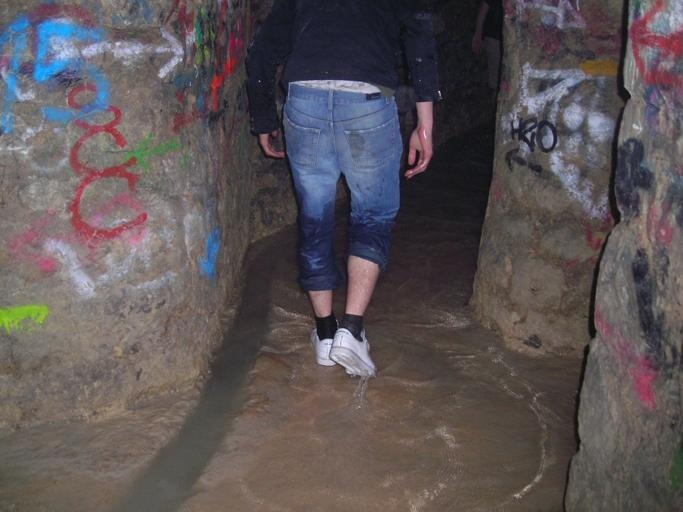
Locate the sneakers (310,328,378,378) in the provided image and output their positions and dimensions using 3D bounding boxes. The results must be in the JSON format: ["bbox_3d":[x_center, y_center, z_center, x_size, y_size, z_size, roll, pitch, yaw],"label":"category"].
[{"bbox_3d":[0.014,0.476,2.926,0.139,0.369,0.164,-14,57,23],"label":"sneakers"}]
